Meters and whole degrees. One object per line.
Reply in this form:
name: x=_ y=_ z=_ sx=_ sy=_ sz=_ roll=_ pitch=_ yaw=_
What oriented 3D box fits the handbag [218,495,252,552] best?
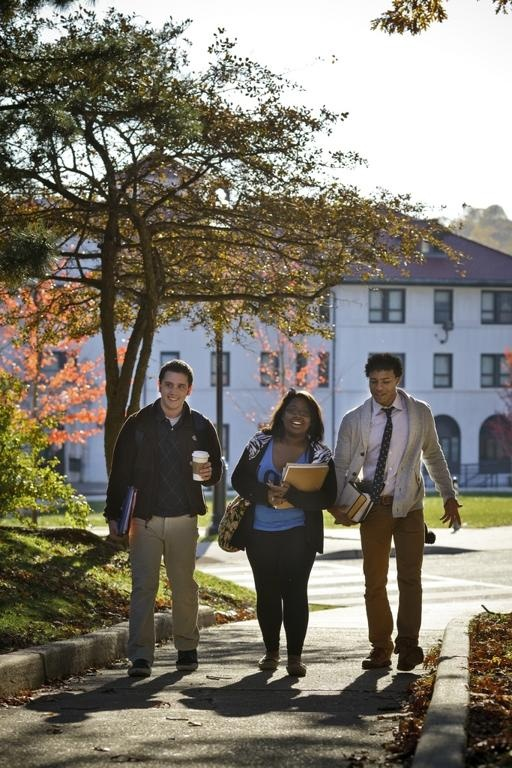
handbag: x=-0.115 y=0.838 z=7.920 sx=0.162 sy=0.338 sz=0.271 roll=5 pitch=22 yaw=-14

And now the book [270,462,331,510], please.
book: x=0.270 y=0.579 z=7.553 sx=0.296 sy=0.287 sz=0.066 roll=6 pitch=39 yaw=-23

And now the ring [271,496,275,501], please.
ring: x=0.098 y=0.669 z=7.668 sx=0.027 sy=0.024 sz=0.008 roll=1 pitch=4 yaw=0

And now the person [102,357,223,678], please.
person: x=-0.546 y=0.784 z=7.885 sx=0.738 sy=1.903 sz=0.515 roll=2 pitch=-3 yaw=-28

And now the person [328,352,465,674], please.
person: x=0.819 y=0.777 z=8.103 sx=0.690 sy=1.920 sz=0.708 roll=0 pitch=-3 yaw=12

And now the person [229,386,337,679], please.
person: x=0.154 y=0.877 z=7.815 sx=0.630 sy=1.703 sz=0.582 roll=1 pitch=-3 yaw=7

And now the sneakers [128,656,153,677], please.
sneakers: x=-0.683 y=1.655 z=7.610 sx=0.130 sy=0.101 sz=0.186 roll=1 pitch=-2 yaw=-7

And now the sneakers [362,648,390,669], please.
sneakers: x=0.733 y=1.669 z=7.947 sx=0.166 sy=0.125 sz=0.207 roll=1 pitch=-2 yaw=4

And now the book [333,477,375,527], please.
book: x=0.604 y=0.715 z=7.936 sx=0.209 sy=0.271 sz=0.097 roll=16 pitch=-7 yaw=32

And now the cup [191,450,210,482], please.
cup: x=-0.339 y=0.492 z=7.759 sx=0.090 sy=0.186 sz=0.173 roll=1 pitch=-2 yaw=-3
